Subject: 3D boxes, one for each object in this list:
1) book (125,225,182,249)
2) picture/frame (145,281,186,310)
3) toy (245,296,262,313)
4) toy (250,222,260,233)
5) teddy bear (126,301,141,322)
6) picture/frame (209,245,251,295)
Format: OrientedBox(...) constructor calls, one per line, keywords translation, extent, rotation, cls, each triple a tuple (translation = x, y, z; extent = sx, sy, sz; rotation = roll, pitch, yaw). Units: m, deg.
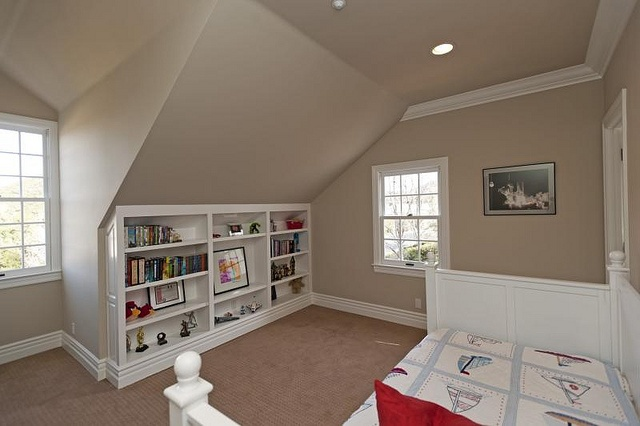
OrientedBox(translation=(-1.896, 0.253, 4.698), extent=(0.175, 0.260, 0.620), rotation=(-2, 0, 38), cls="book")
OrientedBox(translation=(-1.867, 0.988, 4.907), extent=(0.363, 0.347, 0.028), rotation=(-1, -5, -45), cls="picture/frame")
OrientedBox(translation=(-0.932, 1.262, 5.687), extent=(0.178, 0.124, 0.181), rotation=(0, 0, 20), cls="toy")
OrientedBox(translation=(-0.918, 0.202, 5.770), extent=(0.072, 0.156, 0.143), rotation=(-1, 1, 24), cls="toy")
OrientedBox(translation=(-2.149, 1.105, 4.707), extent=(0.142, 0.234, 0.245), rotation=(-3, 0, -26), cls="teddy bear")
OrientedBox(translation=(-1.234, 0.765, 5.502), extent=(0.048, 0.615, 0.727), rotation=(-14, -6, 28), cls="picture/frame")
